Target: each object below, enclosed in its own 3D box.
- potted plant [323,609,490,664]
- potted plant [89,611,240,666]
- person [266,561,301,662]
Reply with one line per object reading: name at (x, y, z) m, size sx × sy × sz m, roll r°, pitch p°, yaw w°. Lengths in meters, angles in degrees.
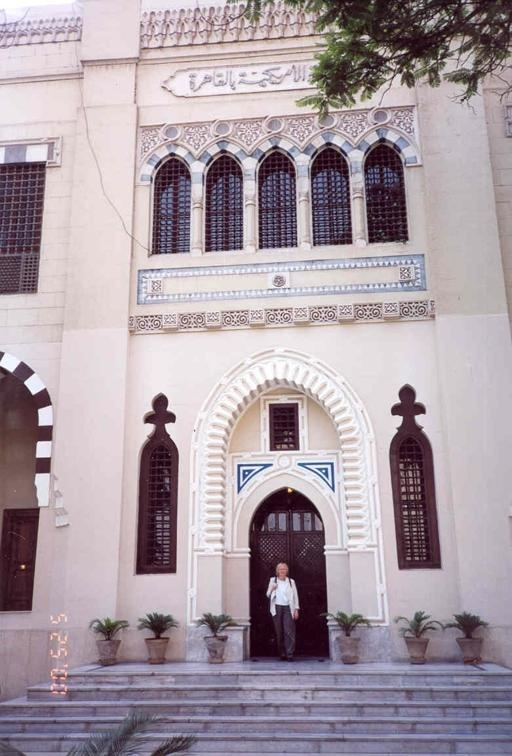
potted plant at (1.598, 2.718, 7.711) m, size 1.614 × 0.523 × 0.516 m, roll -5°, pitch -20°, yaw 13°
potted plant at (-1.044, 2.830, 8.024) m, size 1.635 × 0.545 × 0.617 m, roll 0°, pitch -19°, yaw -3°
person at (0.296, 2.630, 8.291) m, size 0.324 × 1.032 × 0.345 m, roll -1°, pitch -20°, yaw 0°
